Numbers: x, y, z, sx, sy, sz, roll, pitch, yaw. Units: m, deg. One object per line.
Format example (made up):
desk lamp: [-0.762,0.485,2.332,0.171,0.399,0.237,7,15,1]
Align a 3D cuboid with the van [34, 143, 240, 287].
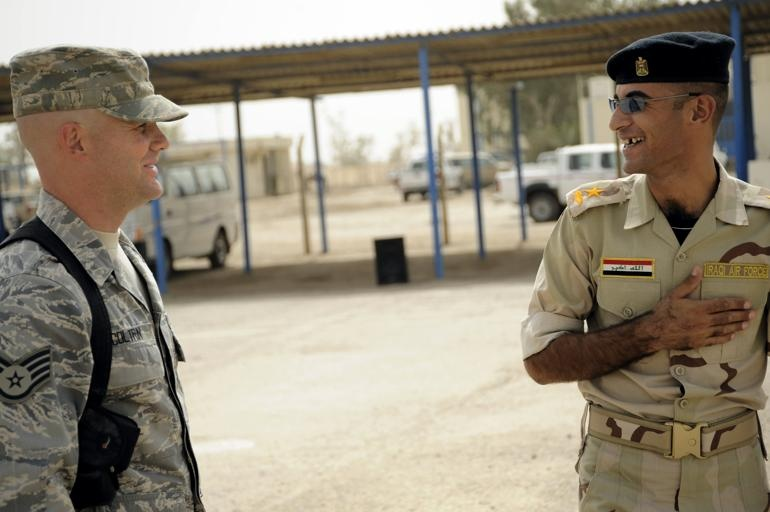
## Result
van: [-2.867,-0.466,15.312,1.258,1.404,2.556,0,7,19]

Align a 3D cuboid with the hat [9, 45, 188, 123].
hat: [-1.350,-0.823,5.932,0.866,0.359,0.548,-1,6,-2]
